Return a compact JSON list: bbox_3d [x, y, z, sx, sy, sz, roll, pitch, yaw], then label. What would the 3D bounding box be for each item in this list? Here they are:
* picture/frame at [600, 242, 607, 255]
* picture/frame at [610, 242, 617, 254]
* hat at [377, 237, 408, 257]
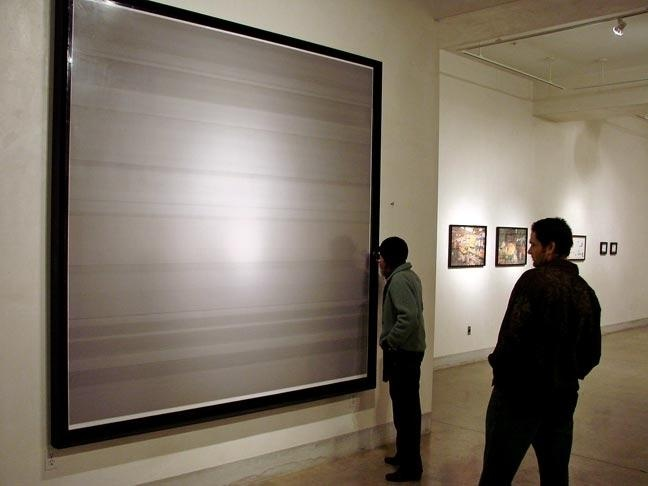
[{"bbox_3d":[7.238,0.139,12.336,0.291,0.365,0.033,2,2,-36],"label":"picture/frame"},{"bbox_3d":[7.708,0.167,12.645,0.432,0.263,0.062,1,0,-41],"label":"picture/frame"},{"bbox_3d":[0.674,0.057,4.697,0.218,0.233,0.183,17,-5,-12],"label":"hat"}]
